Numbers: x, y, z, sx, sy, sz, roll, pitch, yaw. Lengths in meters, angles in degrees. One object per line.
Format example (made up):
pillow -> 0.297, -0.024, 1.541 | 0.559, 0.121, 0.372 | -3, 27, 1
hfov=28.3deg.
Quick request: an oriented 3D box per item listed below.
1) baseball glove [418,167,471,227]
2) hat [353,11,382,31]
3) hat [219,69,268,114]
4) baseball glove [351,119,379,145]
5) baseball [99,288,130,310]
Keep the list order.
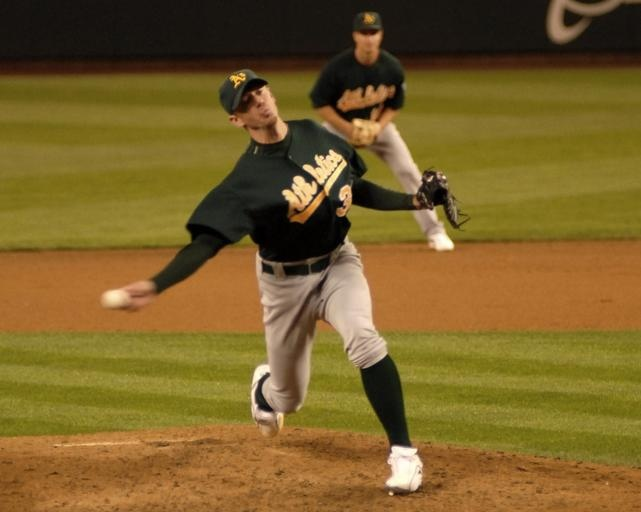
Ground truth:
baseball glove -> 1.084, -0.516, 12.173 | 0.558, 0.632, 0.234 | -10, 24, -10
hat -> 0.523, -2.561, 13.993 | 0.285, 0.223, 0.363 | -1, 7, 6
hat -> -0.710, -1.502, 11.702 | 0.430, 0.397, 0.231 | -2, 7, 3
baseball glove -> 0.496, -1.380, 14.043 | 0.298, 0.231, 0.258 | 1, 4, 25
baseball -> -1.774, 0.359, 10.997 | 0.188, 0.088, 0.182 | 5, 31, 10
